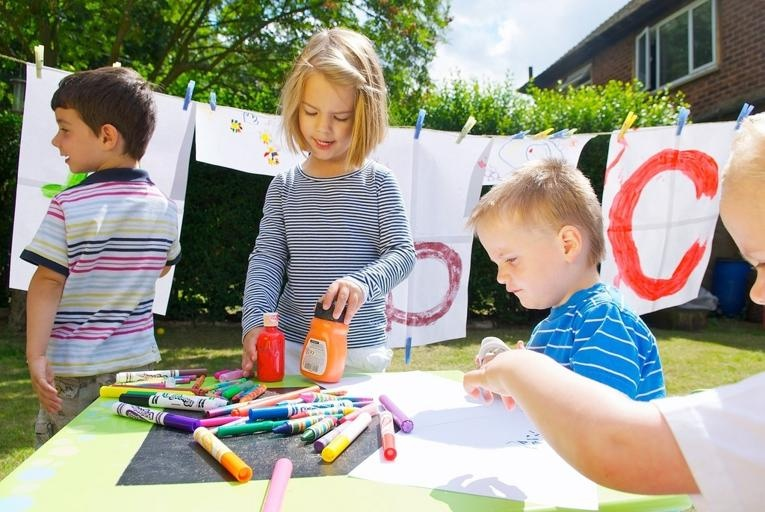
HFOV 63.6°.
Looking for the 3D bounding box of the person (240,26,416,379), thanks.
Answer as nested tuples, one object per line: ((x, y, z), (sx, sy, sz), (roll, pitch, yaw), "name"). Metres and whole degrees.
((-0.208, -0.238, 2.505), (0.688, 1.068, 0.532), (3, 1, 3), "person")
